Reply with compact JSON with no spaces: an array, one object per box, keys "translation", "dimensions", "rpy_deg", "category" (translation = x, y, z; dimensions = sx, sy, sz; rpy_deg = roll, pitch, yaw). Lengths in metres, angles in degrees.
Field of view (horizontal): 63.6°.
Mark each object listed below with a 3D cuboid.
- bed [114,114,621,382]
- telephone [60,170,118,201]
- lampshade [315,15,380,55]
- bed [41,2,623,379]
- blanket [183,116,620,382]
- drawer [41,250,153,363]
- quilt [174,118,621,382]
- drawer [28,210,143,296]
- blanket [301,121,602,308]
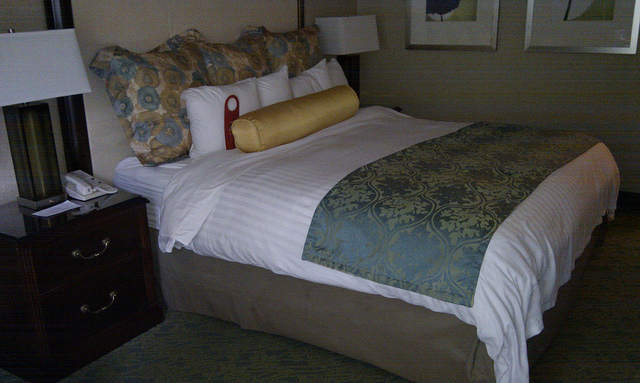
[{"translation":[0.210,0.236,3.290],"dimensions":[2.479,0.515,2.046],"rpy_deg":[13,35,20],"category":"bed"},{"translation":[-1.630,-0.053,3.529],"dimensions":[0.325,0.093,0.229],"rpy_deg":[20,23,28],"category":"telephone"},{"translation":[0.255,-1.634,5.357],"dimensions":[0.494,0.363,0.662],"rpy_deg":[16,34,37],"category":"lampshade"},{"translation":[0.107,0.109,4.096],"dimensions":[3.725,1.878,3.023],"rpy_deg":[8,31,18],"category":"bed"},{"translation":[0.427,0.583,3.457],"dimensions":[2.116,0.459,2.068],"rpy_deg":[13,33,22],"category":"blanket"},{"translation":[-1.468,0.745,3.315],"dimensions":[0.418,0.460,0.728],"rpy_deg":[7,20,29],"category":"drawer"},{"translation":[0.373,0.561,3.414],"dimensions":[2.084,0.445,1.994],"rpy_deg":[12,32,23],"category":"quilt"},{"translation":[-1.483,0.378,3.267],"dimensions":[0.522,0.201,0.502],"rpy_deg":[-1,19,33],"category":"drawer"},{"translation":[1.147,-0.046,3.820],"dimensions":[1.050,0.383,2.565],"rpy_deg":[19,31,34],"category":"blanket"}]
